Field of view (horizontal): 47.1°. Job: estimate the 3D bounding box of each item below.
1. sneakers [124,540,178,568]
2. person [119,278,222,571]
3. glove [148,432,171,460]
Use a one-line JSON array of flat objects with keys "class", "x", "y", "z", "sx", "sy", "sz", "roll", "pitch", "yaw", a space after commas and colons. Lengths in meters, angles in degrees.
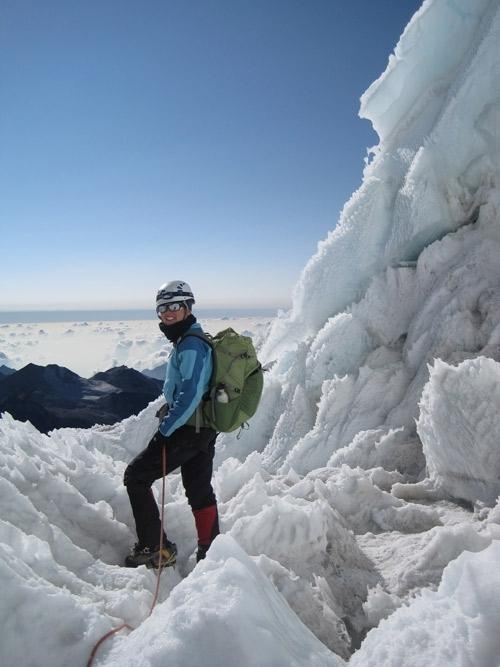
[{"class": "sneakers", "x": -0.768, "y": 1.730, "z": 4.462, "sx": 0.300, "sy": 0.128, "sz": 0.201, "roll": -7, "pitch": -32, "yaw": -3}, {"class": "person", "x": -0.649, "y": 0.693, "z": 4.717, "sx": 0.609, "sy": 2.035, "sz": 0.926, "roll": -1, "pitch": 1, "yaw": 27}, {"class": "glove", "x": -0.723, "y": 0.903, "z": 4.614, "sx": 0.186, "sy": 0.173, "sz": 0.102, "roll": 20, "pitch": -3, "yaw": 6}]
